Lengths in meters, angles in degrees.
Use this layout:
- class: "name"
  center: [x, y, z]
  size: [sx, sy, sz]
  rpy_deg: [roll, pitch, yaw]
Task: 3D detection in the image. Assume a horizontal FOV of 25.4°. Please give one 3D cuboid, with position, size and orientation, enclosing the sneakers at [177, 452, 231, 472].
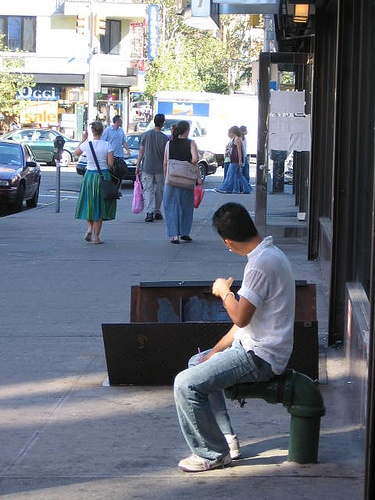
- class: "sneakers"
  center: [0.078, 0.997, 3.924]
  size: [0.237, 0.107, 0.090]
  rpy_deg: [3, -3, -7]

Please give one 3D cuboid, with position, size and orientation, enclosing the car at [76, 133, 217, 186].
- class: "car"
  center: [-0.625, -2.629, 24.639]
  size: [1.794, 1.448, 4.297]
  rpy_deg: [2, 4, 23]

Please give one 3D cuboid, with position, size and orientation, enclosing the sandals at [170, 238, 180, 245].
- class: "sandals"
  center: [-0.179, -0.118, 12.011]
  size: [0.075, 0.073, 0.199]
  rpy_deg: [-1, -5, -11]

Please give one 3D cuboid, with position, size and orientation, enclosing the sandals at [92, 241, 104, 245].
- class: "sandals"
  center: [-1.281, -0.121, 11.995]
  size: [0.141, 0.061, 0.053]
  rpy_deg: [-7, 42, -20]

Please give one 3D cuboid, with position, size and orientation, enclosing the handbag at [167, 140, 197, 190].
- class: "handbag"
  center: [-0.077, -1.180, 11.674]
  size: [0.506, 0.872, 0.369]
  rpy_deg: [5, -23, -1]

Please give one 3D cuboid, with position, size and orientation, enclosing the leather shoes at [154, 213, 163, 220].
- class: "leather shoes"
  center: [-0.548, -0.616, 15.443]
  size: [0.097, 0.129, 0.298]
  rpy_deg: [2, 5, 7]

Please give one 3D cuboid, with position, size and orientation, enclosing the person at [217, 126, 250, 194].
- class: "person"
  center: [1.266, -2.275, 21.427]
  size: [0.802, 1.741, 1.401]
  rpy_deg: [0, 7, -1]

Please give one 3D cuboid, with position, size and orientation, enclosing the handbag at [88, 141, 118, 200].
- class: "handbag"
  center: [-1.093, -1.074, 11.448]
  size: [0.334, 0.823, 0.486]
  rpy_deg: [4, 8, 33]

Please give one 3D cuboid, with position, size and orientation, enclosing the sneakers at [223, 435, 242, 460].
- class: "sneakers"
  center: [0.227, 0.954, 4.014]
  size: [0.049, 0.066, 0.142]
  rpy_deg: [0, 6, 1]

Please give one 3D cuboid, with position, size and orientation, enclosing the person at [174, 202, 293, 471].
- class: "person"
  center: [0.215, 0.413, 3.841]
  size: [0.539, 1.242, 0.390]
  rpy_deg: [1, 7, 6]
